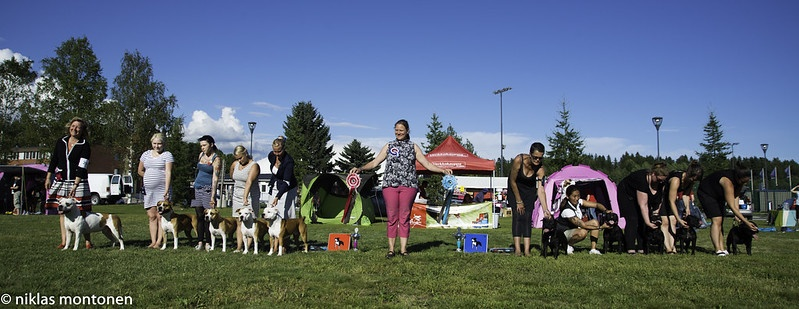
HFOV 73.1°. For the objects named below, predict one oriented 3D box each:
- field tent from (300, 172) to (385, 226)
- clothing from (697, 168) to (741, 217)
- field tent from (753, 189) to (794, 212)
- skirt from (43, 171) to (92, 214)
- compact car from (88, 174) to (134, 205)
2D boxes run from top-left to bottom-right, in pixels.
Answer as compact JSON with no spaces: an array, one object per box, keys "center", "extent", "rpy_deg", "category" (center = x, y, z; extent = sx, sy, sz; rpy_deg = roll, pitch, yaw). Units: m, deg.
[{"center":[-5.654,4.237,53.597],"extent":[7.315,3.403,5.638],"rpy_deg":[-1,-11,10],"category":"field tent"},{"center":[25.888,3.420,43.941],"extent":[3.838,3.105,2.659],"rpy_deg":[0,-7,-11],"category":"clothing"},{"center":[48.246,5.983,69.768],"extent":[4.207,2.252,2.000],"rpy_deg":[0,-7,-5],"category":"field tent"},{"center":[-26.257,3.111,43.291],"extent":[4.003,2.824,1.878],"rpy_deg":[7,8,16],"category":"skirt"},{"center":[-36.357,4.409,67.633],"extent":[8.648,3.350,4.582],"rpy_deg":[-3,0,-16],"category":"compact car"}]
